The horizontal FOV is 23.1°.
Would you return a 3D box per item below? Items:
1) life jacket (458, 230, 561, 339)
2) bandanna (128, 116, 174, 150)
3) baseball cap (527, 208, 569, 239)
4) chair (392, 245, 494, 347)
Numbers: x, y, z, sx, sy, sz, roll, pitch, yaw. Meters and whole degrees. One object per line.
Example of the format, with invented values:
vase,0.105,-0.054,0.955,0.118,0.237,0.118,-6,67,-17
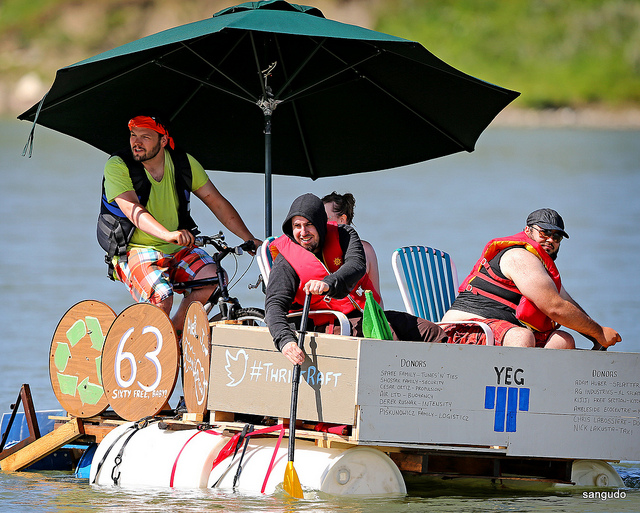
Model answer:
life jacket,2.177,0.337,18.008,1.111,1.145,0.473,2,14,8
bandanna,-2.129,-1.520,19.014,0.426,0.213,0.468,9,-23,15
baseball cap,2.600,-0.387,18.096,0.312,0.220,0.408,19,-9,-37
chair,1.247,0.347,19.402,0.920,1.640,1.205,-1,-8,-38
